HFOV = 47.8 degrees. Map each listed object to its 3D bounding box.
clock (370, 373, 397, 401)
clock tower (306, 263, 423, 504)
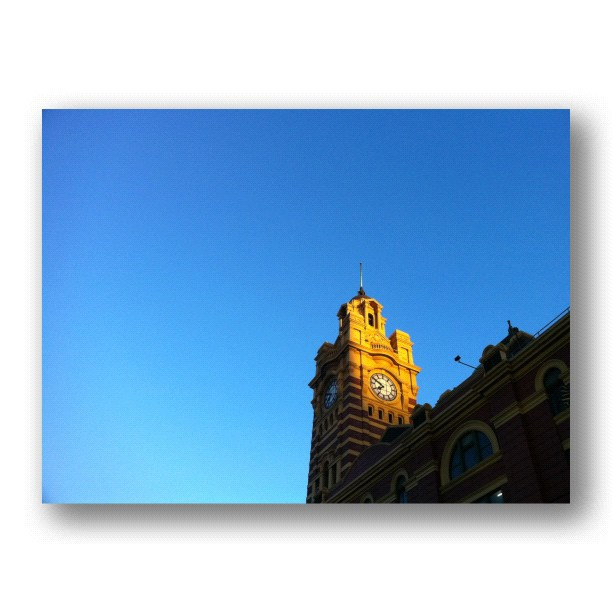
[{"bbox_3d":[5.545,5.968,49.858,1.972,2.192,0.103,13,-54,-41],"label":"clock"},{"bbox_3d":[4.177,8.260,50.080,7.033,22.489,8.614,12,-42,-6],"label":"clock tower"}]
